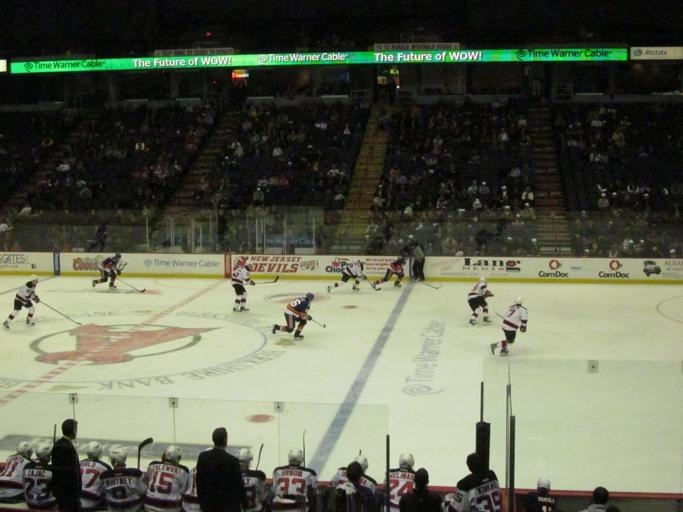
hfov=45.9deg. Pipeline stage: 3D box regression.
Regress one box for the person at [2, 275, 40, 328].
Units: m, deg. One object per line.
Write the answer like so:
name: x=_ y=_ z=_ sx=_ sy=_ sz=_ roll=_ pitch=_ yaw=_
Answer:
person: x=-9.408 y=1.425 z=23.783 sx=0.840 sy=1.265 sz=0.444 roll=17 pitch=42 yaw=-17

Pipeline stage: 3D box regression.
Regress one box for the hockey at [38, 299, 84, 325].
hockey: x=-8.249 y=1.697 z=23.792 sx=1.093 sy=0.082 sz=0.117 roll=32 pitch=22 yaw=-9

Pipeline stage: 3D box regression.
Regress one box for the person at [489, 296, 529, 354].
person: x=4.049 y=1.622 z=19.346 sx=0.781 sy=1.275 sz=1.474 roll=1 pitch=8 yaw=15

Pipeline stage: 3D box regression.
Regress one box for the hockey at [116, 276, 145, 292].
hockey: x=-7.534 y=1.061 z=28.885 sx=1.433 sy=0.154 sz=0.214 roll=16 pitch=28 yaw=40

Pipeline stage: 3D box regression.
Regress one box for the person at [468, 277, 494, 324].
person: x=3.955 y=1.347 z=22.798 sx=0.837 sy=1.396 sz=0.676 roll=-23 pitch=30 yaw=-33

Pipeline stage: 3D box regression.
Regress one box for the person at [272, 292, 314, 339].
person: x=-1.131 y=1.526 z=20.664 sx=0.923 sy=1.208 sz=0.975 roll=0 pitch=8 yaw=8

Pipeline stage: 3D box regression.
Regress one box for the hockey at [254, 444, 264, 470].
hockey: x=-1.174 y=2.907 z=11.679 sx=0.068 sy=0.595 sz=0.060 roll=11 pitch=11 yaw=-8

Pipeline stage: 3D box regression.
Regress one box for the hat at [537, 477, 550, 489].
hat: x=2.813 y=3.157 z=11.199 sx=0.127 sy=0.144 sz=0.164 roll=1 pitch=-11 yaw=5

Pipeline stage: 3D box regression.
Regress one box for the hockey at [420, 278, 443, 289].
hockey: x=3.232 y=1.044 z=28.411 sx=0.220 sy=0.194 sz=1.346 roll=11 pitch=-1 yaw=25
